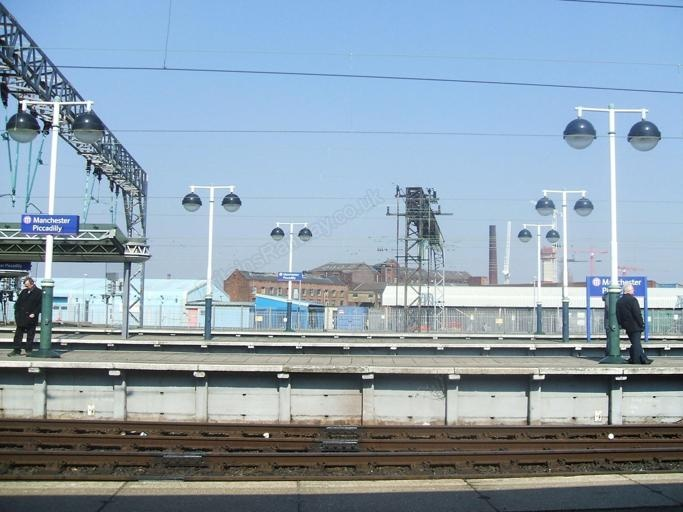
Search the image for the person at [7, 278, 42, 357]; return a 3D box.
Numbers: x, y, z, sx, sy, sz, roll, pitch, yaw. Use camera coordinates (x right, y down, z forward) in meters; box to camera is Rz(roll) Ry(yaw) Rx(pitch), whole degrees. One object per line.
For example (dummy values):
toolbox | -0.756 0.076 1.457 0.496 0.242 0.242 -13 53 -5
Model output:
person | -9.908 1.832 48.865 0.912 2.333 1.008 2 1 -40
